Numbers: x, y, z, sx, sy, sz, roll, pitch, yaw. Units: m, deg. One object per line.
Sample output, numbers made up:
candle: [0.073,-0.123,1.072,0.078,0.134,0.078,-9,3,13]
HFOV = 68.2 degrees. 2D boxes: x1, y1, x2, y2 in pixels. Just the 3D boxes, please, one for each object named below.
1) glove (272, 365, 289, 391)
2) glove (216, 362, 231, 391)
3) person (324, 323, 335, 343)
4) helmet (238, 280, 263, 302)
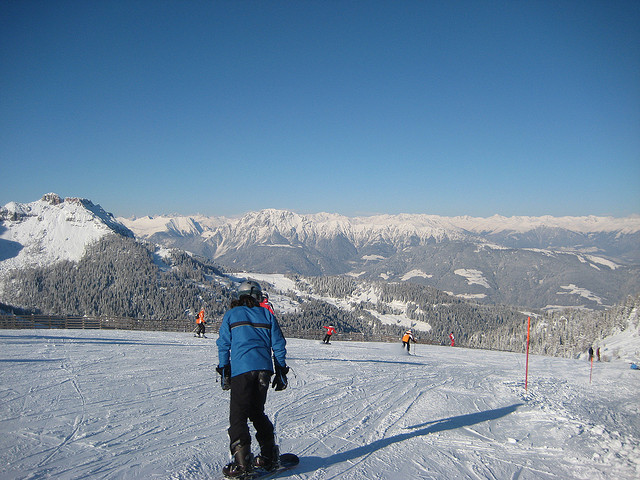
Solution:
glove: [-0.935,3.411,11.754,0.550,0.610,0.229,-1,-5,44]
glove: [-2.354,3.350,11.463,0.354,0.654,0.421,1,-7,-14]
person: [0.684,7.351,36.530,0.855,1.249,0.296,17,0,16]
helmet: [-1.707,1.303,11.967,0.471,0.620,0.608,5,10,29]
